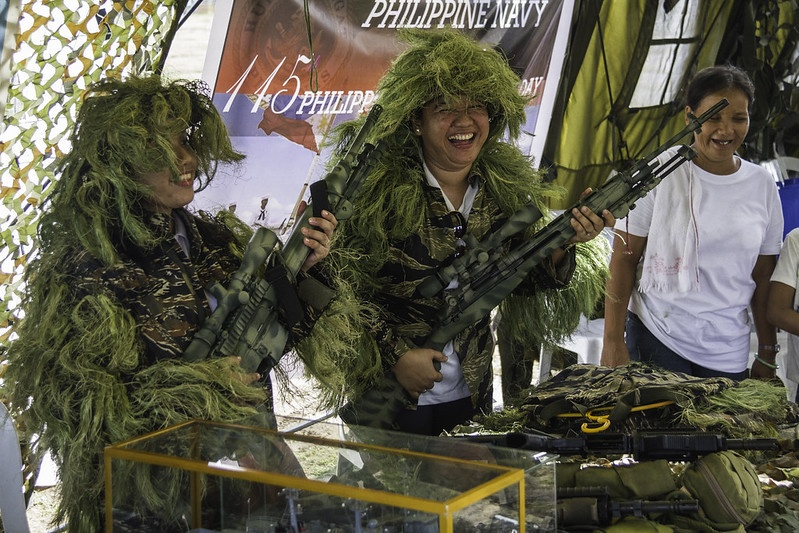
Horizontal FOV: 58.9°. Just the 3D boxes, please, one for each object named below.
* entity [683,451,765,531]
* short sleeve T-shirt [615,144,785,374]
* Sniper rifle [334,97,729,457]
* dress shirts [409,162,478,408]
[{"bbox_3d":[1.190,0.811,2.566,0.265,0.230,0.194,2,5,-16],"label":"entity"},{"bbox_3d":[1.562,-0.023,3.717,1.095,1.092,0.632,7,10,2],"label":"short sleeve T-shirt"},{"bbox_3d":[0.611,0.085,3.365,0.737,2.305,0.327,51,5,-39],"label":"Sniper rifle"},{"bbox_3d":[0.195,0.116,3.375,0.099,1.175,0.276,15,-9,-6],"label":"dress shirts"}]
